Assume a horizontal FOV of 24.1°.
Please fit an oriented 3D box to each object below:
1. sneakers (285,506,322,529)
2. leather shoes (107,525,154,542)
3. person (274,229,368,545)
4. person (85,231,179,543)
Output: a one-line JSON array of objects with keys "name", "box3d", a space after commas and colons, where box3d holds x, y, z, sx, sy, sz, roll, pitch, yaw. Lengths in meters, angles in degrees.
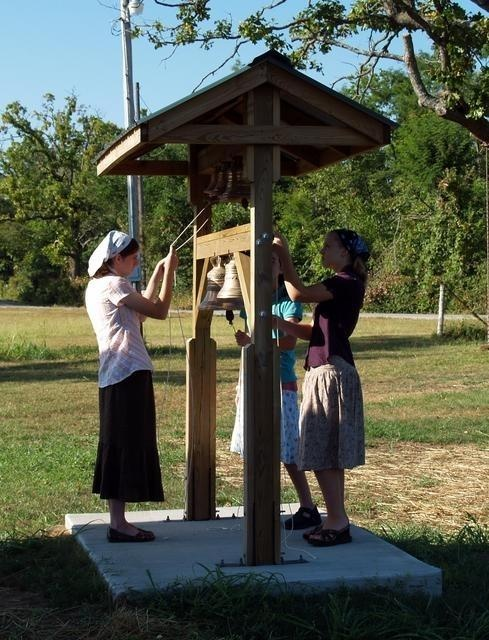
[{"name": "sneakers", "box3d": [0.390, 1.304, 7.569, 0.228, 0.102, 0.117, 0, -8, -19]}, {"name": "leather shoes", "box3d": [-0.705, 1.332, 7.146, 0.248, 0.100, 0.111, -4, -4, -6]}, {"name": "person", "box3d": [0.480, 0.409, 7.011, 0.531, 1.949, 0.787, 5, 6, 43]}, {"name": "person", "box3d": [-0.696, 0.406, 7.053, 0.553, 1.918, 0.524, 0, 5, -7]}]
